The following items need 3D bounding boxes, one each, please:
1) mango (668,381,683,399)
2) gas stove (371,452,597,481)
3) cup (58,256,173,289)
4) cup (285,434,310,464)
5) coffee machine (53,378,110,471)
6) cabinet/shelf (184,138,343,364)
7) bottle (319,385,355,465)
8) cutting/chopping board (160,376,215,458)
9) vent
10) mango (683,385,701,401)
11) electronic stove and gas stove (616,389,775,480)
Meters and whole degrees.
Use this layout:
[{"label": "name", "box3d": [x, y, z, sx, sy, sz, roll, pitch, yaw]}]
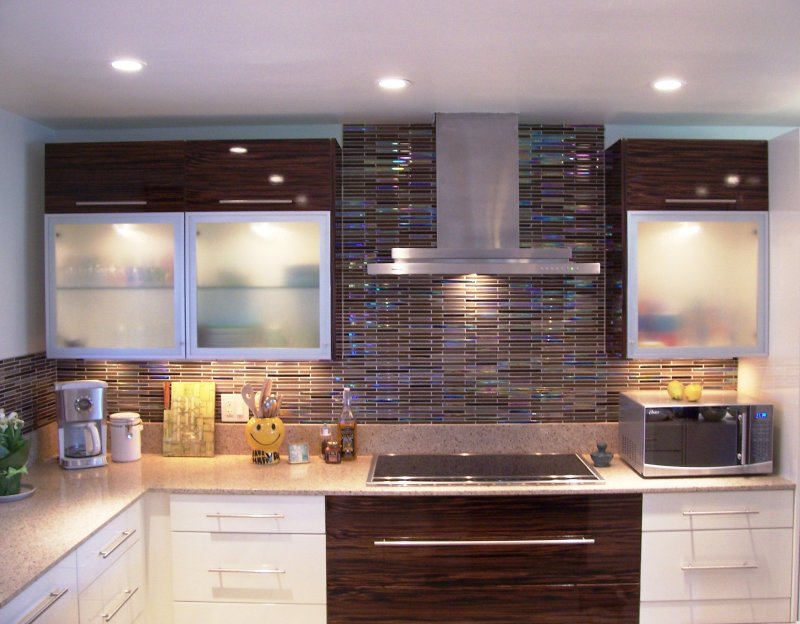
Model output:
[{"label": "mango", "box3d": [1.408, 0.398, 3.966, 0.089, 0.100, 0.087, 4, 5, 8]}, {"label": "gas stove", "box3d": [0.415, 0.804, 3.977, 1.135, 0.060, 0.447, -1, 2, 0]}, {"label": "cup", "box3d": [-1.497, -0.202, 3.857, 0.580, 0.154, 0.197, 1, 4, -2]}, {"label": "cup", "box3d": [-0.548, 0.748, 4.141, 0.124, 0.106, 0.198, -2, 2, -8]}, {"label": "coffee machine", "box3d": [-1.681, 0.591, 4.035, 0.252, 0.460, 0.183, -2, 2, -17]}, {"label": "cabinet/shelf", "box3d": [-0.697, -0.329, 3.917, 0.901, 1.060, 0.486, 2, 5, 1]}, {"label": "bottle", "box3d": [-0.327, 0.612, 4.136, 0.161, 0.412, 0.127, 7, 7, 43]}, {"label": "cutting/chopping board", "box3d": [-1.155, 0.586, 4.184, 0.468, 0.592, 0.031, 0, -5, -2]}, {"label": "vent", "box3d": [0.359, -0.584, 4.103, 1.473, 0.966, 0.781, 0, 0, 0]}, {"label": "mango", "box3d": [1.491, 0.409, 3.942, 0.089, 0.085, 0.087, 9, 4, 27]}, {"label": "electronic stove and gas stove", "box3d": [1.541, 0.627, 3.964, 0.730, 0.388, 0.313, -1, 2, 2]}]
